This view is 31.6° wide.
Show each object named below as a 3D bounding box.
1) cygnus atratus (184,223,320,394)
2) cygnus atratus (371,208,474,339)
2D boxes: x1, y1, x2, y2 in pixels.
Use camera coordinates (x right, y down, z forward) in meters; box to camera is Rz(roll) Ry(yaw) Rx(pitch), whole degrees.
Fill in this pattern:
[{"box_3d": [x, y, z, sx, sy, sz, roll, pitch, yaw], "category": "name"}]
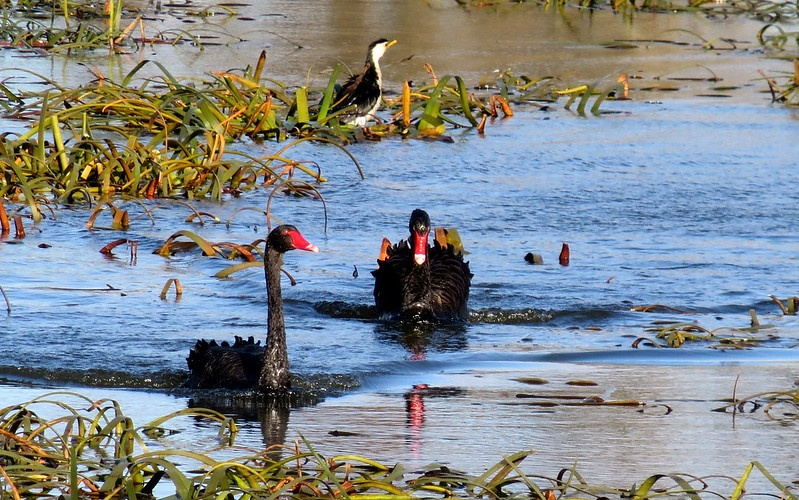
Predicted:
[{"box_3d": [-1.571, 0.587, 14.635, 1.225, 1.686, 0.726, 3, 13, 1], "category": "cygnus atratus"}, {"box_3d": [0.292, 0.252, 17.138, 1.498, 1.103, 1.506, 1, 37, -1], "category": "cygnus atratus"}]
